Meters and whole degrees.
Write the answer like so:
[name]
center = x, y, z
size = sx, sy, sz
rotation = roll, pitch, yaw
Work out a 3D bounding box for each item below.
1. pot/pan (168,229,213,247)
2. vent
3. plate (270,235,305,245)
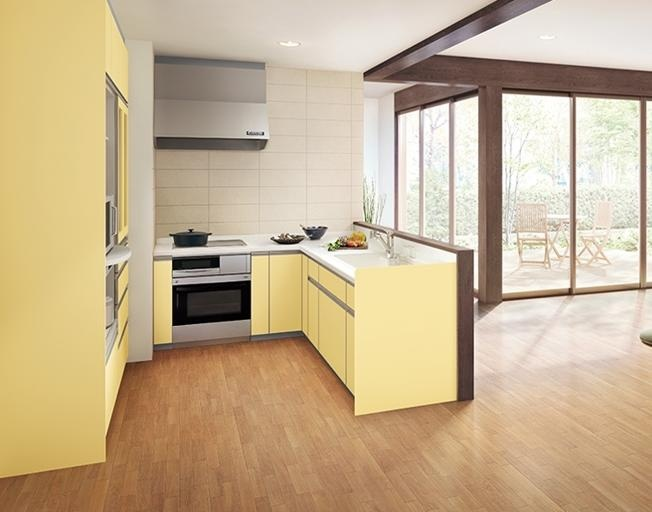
[pot/pan]
center = -1.375, -0.156, 4.676
size = 0.245, 0.109, 0.273
rotation = -1, 0, 3
[vent]
center = -1.162, -1.577, 4.694
size = 1.116, 0.806, 0.347
rotation = -2, 9, -11
[plate]
center = -0.404, -0.175, 5.032
size = 0.362, 0.080, 0.429
rotation = -1, 8, -6
